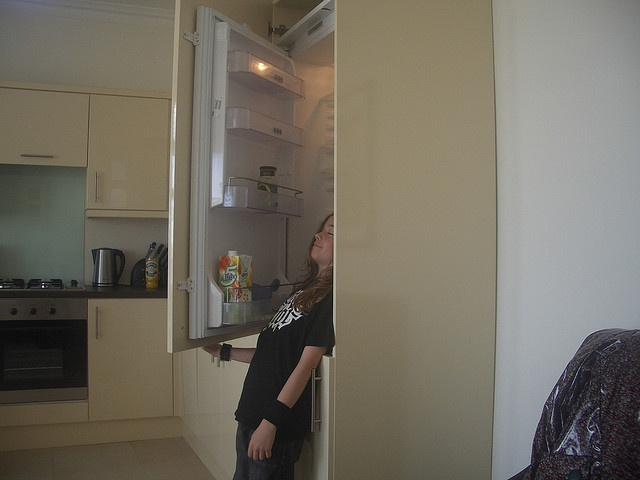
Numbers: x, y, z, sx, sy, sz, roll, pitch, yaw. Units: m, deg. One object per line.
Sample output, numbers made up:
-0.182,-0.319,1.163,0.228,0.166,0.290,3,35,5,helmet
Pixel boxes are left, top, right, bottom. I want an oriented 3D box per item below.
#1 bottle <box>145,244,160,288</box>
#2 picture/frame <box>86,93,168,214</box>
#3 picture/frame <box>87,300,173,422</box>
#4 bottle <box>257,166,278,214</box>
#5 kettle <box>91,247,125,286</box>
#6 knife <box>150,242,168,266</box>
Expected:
-1.146,0.164,3.585,0.091,0.284,0.302,1,0,-18,bottle
-1.258,-0.569,3.448,0.504,0.701,0.056,1,0,-9,picture/frame
-1.159,0.719,3.218,0.495,0.673,0.049,1,0,-10,picture/frame
-0.227,-0.229,2.276,0.087,0.188,0.198,1,0,-5,bottle
-1.436,0.177,3.543,0.250,0.289,0.190,4,-5,-36,kettle
-1.124,0.085,3.644,0.089,0.156,0.029,25,-52,-30,knife
